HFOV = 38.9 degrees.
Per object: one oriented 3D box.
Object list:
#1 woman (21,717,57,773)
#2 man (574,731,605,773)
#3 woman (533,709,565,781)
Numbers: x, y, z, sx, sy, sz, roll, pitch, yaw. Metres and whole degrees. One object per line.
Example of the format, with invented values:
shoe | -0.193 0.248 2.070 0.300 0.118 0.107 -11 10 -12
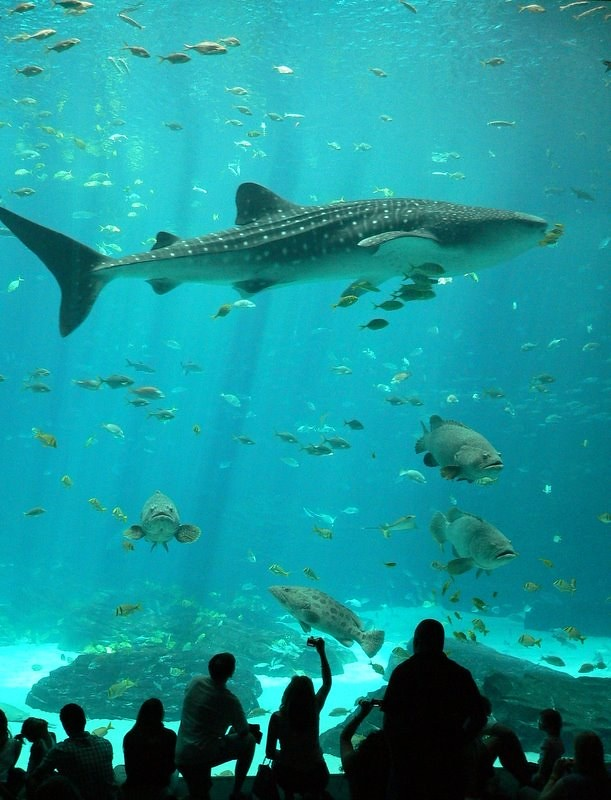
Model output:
woman | -4.731 6.000 15.296 0.690 0.399 0.923 -10 -53 -1
man | 4.784 5.934 14.520 0.499 0.708 0.384 -5 -22 12
woman | 4.355 6.115 15.214 0.488 1.284 0.685 1 -22 -3
